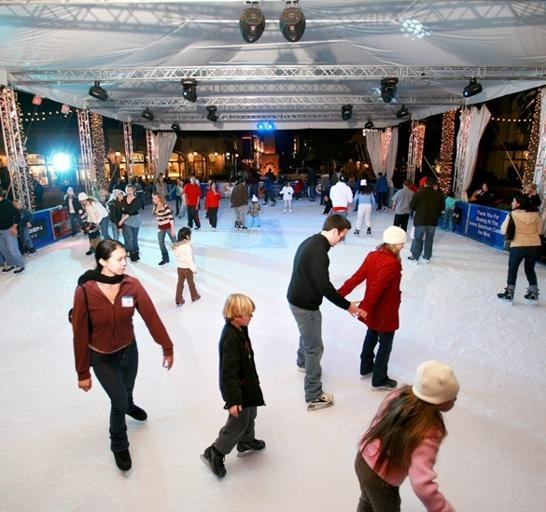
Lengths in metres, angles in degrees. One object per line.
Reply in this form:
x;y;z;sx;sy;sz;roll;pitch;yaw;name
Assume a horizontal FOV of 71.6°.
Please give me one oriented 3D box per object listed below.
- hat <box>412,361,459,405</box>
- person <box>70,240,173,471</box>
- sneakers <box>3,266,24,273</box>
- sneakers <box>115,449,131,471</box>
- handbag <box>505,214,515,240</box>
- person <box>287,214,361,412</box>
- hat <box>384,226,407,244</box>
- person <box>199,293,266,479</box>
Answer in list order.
0.654;0.515;1.526;0.113;0.158;0.136;-14;19;-37;hat
-1.091;0.720;2.759;0.646;1.710;0.344;-12;19;-31;person
-5.438;0.275;7.876;0.312;0.104;0.106;5;3;-4;sneakers
-1.130;1.514;2.836;0.075;0.082;0.195;0;5;-40;sneakers
3.459;-0.412;5.493;0.079;0.381;0.108;-14;20;-35;handbag
0.411;0.535;3.312;0.569;1.773;0.398;-2;16;2;person
1.096;-0.188;3.393;0.170;0.180;0.300;4;16;21;hat
-0.249;0.917;2.655;0.460;1.383;0.413;-16;21;-39;person
